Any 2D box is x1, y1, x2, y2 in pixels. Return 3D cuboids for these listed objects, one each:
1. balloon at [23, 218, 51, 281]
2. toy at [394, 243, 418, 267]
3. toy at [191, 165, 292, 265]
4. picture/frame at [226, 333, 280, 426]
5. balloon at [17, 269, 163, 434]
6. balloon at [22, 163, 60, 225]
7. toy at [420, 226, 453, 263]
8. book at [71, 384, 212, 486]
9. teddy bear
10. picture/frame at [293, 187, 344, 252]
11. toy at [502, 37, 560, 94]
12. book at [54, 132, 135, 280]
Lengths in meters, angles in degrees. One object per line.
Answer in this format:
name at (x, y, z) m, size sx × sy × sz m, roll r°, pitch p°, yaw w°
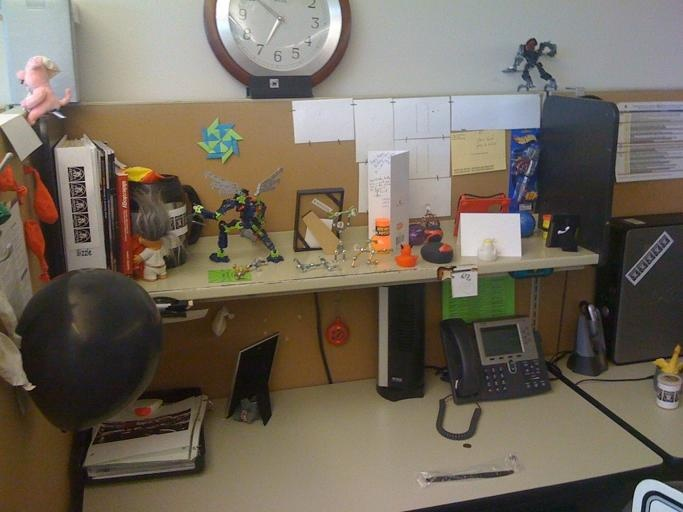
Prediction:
balloon at (-0.732, -0.021, 1.275) m, size 0.045 × 0.190 × 0.053 m, roll -9°, pitch -9°, yaw 1°
toy at (0.198, 0.000, 1.601) m, size 0.073 × 0.056 × 0.060 m, roll -4°, pitch 18°, yaw -6°
toy at (-0.266, -0.132, 1.740) m, size 0.353 × 0.427 × 0.251 m, roll 2°, pitch 18°, yaw -2°
picture/frame at (-0.296, 0.402, 1.757) m, size 0.118 × 0.294 × 0.202 m, roll 28°, pitch 25°, yaw 32°
balloon at (-0.536, 0.205, 1.130) m, size 0.296 × 0.353 × 0.282 m, roll 1°, pitch 6°, yaw -37°
balloon at (-0.711, -0.141, 1.277) m, size 0.062 × 0.134 × 0.038 m, roll -1°, pitch 20°, yaw 2°
toy at (0.290, -0.033, 1.666) m, size 0.077 × 0.051 × 0.111 m, roll -1°, pitch 25°, yaw 0°
book at (-0.564, 0.537, 1.575) m, size 0.220 × 0.056 × 0.222 m, roll 0°, pitch 33°, yaw -3°
teddy bear at (-0.771, -0.430, 1.401) m, size 0.115 × 0.165 × 0.207 m, roll -10°, pitch 20°, yaw -25°
picture/frame at (-0.071, -0.129, 1.792) m, size 0.151 × 0.210 × 0.024 m, roll -6°, pitch 39°, yaw -20°
toy at (0.650, -0.664, 1.872) m, size 0.182 × 0.168 × 0.085 m, roll -3°, pitch 8°, yaw 3°
book at (-0.655, -0.115, 1.418) m, size 0.105 × 0.303 × 0.303 m, roll -4°, pitch 27°, yaw -9°
